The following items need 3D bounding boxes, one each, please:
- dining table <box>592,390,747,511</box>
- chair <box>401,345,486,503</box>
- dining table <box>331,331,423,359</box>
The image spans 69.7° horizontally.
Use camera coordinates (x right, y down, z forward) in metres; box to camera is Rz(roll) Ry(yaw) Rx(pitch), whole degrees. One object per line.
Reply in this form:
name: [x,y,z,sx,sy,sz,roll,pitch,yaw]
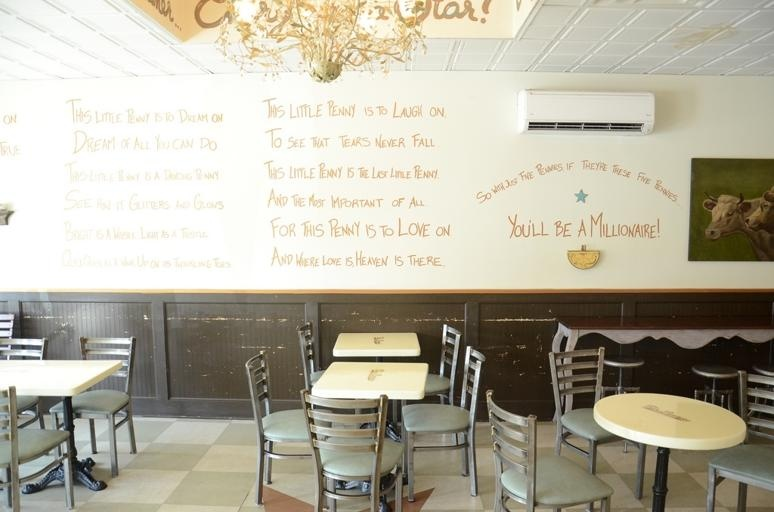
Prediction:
dining table: [2.300,1.396,4.814,1.142,1.151,1.042,-1,6,-13]
chair: [0.509,1.602,5.450,0.953,1.215,0.909,-1,2,17]
dining table: [-0.094,1.028,6.080,0.875,0.338,0.741,-3,1,0]
